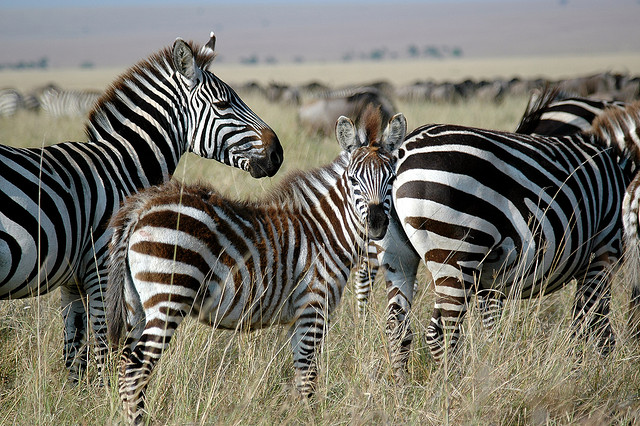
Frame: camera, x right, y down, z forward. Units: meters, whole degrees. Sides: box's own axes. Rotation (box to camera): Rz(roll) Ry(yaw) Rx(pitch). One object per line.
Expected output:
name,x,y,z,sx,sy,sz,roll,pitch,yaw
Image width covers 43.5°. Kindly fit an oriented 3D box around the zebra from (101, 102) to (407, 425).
zebra,-0.583,0.482,6.566,2.133,2.574,0.943,1,-6,-19
